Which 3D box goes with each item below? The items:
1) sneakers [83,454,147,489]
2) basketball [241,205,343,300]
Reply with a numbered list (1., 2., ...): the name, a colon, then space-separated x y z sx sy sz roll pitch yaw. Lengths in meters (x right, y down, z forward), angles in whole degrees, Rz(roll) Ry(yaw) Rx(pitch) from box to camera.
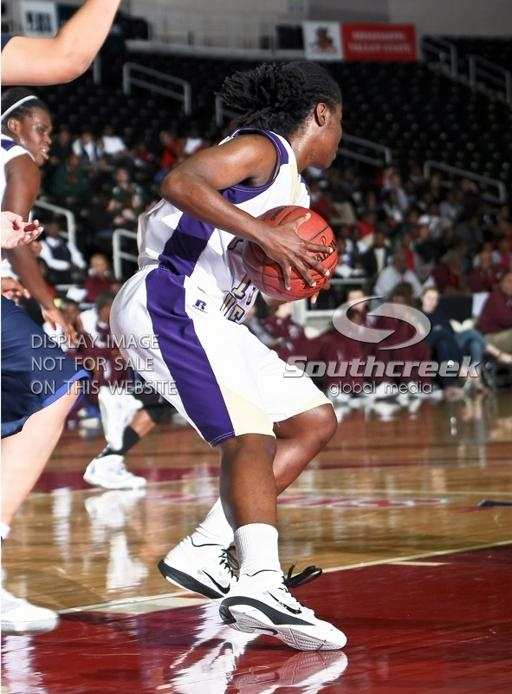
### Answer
1. sneakers: -0.830 0.738 4.158 0.478 0.197 0.151 9 9 -28
2. basketball: 0.114 -0.221 1.672 0.249 0.212 0.240 1 11 13
